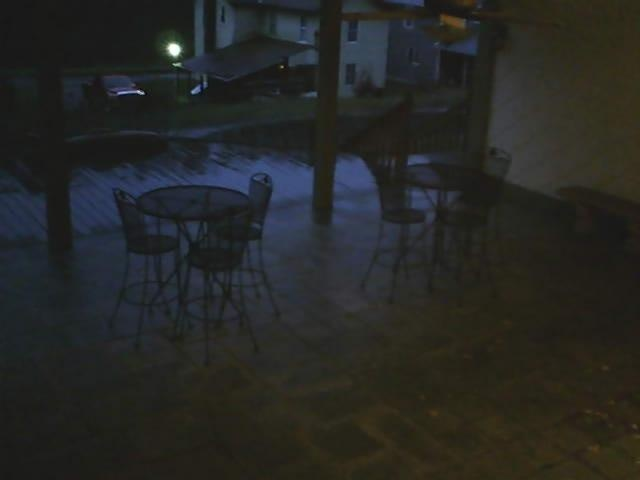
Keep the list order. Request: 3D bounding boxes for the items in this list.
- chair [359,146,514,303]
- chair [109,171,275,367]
[{"bbox_3d":[0.827,-0.147,4.023,1.163,0.907,0.506,-6,25,-12],"label":"chair"},{"bbox_3d":[-0.807,0.075,3.933,1.074,0.884,1.100,0,36,-7],"label":"chair"}]
